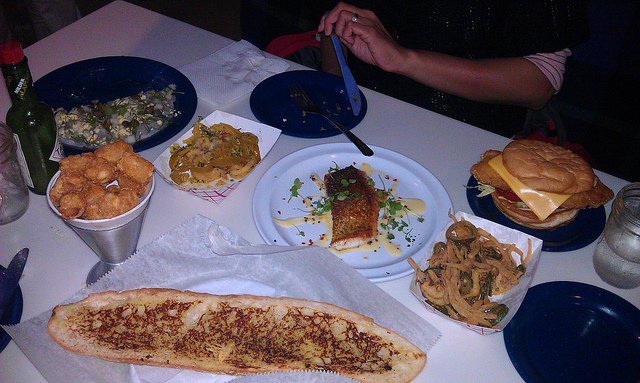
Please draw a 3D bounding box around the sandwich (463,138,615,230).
[{"bbox_3d":[1.320,-0.066,3.021,0.568,0.260,0.640,-20,47,-9],"label":"sandwich"}]

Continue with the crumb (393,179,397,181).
[{"bbox_3d":[0.474,-0.077,3.269,0.025,0.005,0.012,-2,55,-6],"label":"crumb"}]
